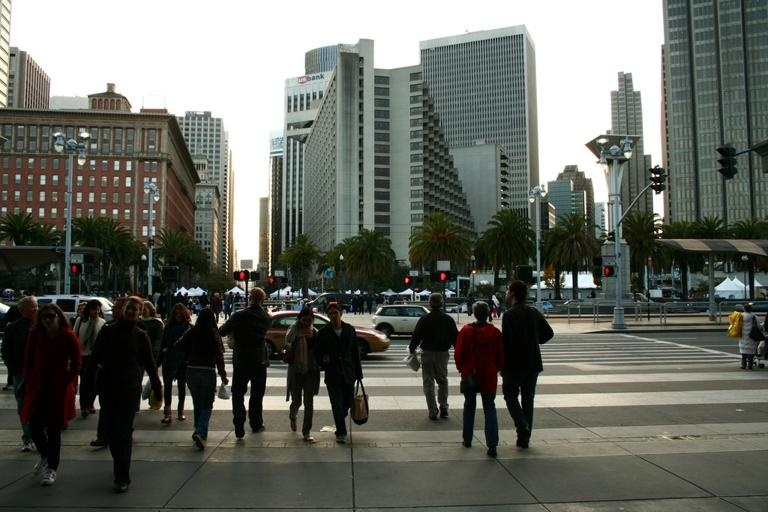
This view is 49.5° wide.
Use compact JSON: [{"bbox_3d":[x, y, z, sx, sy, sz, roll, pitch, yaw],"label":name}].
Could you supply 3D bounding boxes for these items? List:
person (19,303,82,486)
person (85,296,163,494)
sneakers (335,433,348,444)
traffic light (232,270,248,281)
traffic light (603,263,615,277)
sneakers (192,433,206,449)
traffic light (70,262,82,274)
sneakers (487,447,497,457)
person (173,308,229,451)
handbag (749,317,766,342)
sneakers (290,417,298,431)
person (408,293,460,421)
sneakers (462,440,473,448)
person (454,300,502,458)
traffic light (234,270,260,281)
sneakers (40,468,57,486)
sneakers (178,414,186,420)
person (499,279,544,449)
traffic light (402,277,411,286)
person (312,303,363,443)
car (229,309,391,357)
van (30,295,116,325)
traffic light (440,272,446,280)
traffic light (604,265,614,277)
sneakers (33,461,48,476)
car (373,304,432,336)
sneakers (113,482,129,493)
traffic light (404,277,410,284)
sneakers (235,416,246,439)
[{"bbox_3d":[-6.641,2.749,16.574,1.076,3.437,1.064,0,-9,-1],"label":"person"},{"bbox_3d":[-5.087,2.679,16.324,1.127,3.718,0.714,-1,-2,-21],"label":"person"},{"bbox_3d":[-0.926,3.962,17.970,0.182,0.201,0.450,1,2,-3],"label":"sneakers"},{"bbox_3d":[-6.915,0.950,40.354,0.811,0.788,0.452,1,-1,-31],"label":"traffic light"},{"bbox_3d":[11.271,0.727,41.351,0.815,0.832,0.455,1,-2,-16],"label":"traffic light"},{"bbox_3d":[-3.904,3.921,17.514,0.160,0.464,0.204,-5,34,5],"label":"sneakers"},{"bbox_3d":[-14.915,0.593,40.402,0.540,0.493,0.864,-1,-2,-22],"label":"traffic light"},{"bbox_3d":[2.248,4.091,17.314,0.190,0.200,0.245,-2,-2,6],"label":"sneakers"},{"bbox_3d":[-3.853,2.624,17.804,0.926,2.947,0.513,-2,-2,-14],"label":"person"},{"bbox_3d":[11.432,2.290,25.515,0.330,0.804,0.664,-7,1,13],"label":"handbag"},{"bbox_3d":[-2.001,3.756,18.459,0.114,0.349,0.230,3,40,2],"label":"sneakers"},{"bbox_3d":[1.196,2.360,19.675,1.061,2.933,1.253,-2,-2,6],"label":"person"},{"bbox_3d":[1.771,4.017,17.689,0.158,0.081,0.218,-1,-1,2],"label":"sneakers"},{"bbox_3d":[2.034,2.604,17.676,1.007,3.210,0.792,-2,-2,12],"label":"person"},{"bbox_3d":[-6.579,0.944,39.895,1.228,0.674,0.536,-1,-1,-12],"label":"traffic light"},{"bbox_3d":[-6.510,4.293,16.135,0.245,0.319,0.166,-2,-2,-16],"label":"sneakers"},{"bbox_3d":[-4.689,3.771,19.409,0.074,0.156,0.153,10,11,42],"label":"sneakers"},{"bbox_3d":[3.015,2.312,17.852,0.954,3.571,0.914,-3,-2,20],"label":"person"},{"bbox_3d":[1.207,1.426,45.420,0.510,0.504,0.554,6,5,23],"label":"traffic light"},{"bbox_3d":[-1.001,2.544,18.226,0.969,3.010,0.585,-2,-2,-5],"label":"person"},{"bbox_3d":[-1.861,2.793,27.343,3.975,1.373,1.835,-3,-2,-2],"label":"car"},{"bbox_3d":[-8.306,1.452,22.285,2.390,0.923,1.154,6,1,10],"label":"van"},{"bbox_3d":[2.642,0.911,37.385,0.314,0.324,0.076,-4,9,-13],"label":"traffic light"},{"bbox_3d":[11.124,0.685,41.230,0.545,0.500,0.431,-3,-2,15],"label":"traffic light"},{"bbox_3d":[-6.738,4.166,16.284,0.153,0.196,0.474,1,20,-6],"label":"sneakers"},{"bbox_3d":[0.813,2.759,35.805,2.477,1.202,1.503,-3,-1,3],"label":"car"},{"bbox_3d":[-5.038,4.451,15.983,0.296,0.173,0.204,-2,-2,-12],"label":"sneakers"},{"bbox_3d":[1.254,1.355,45.270,0.259,0.385,0.334,5,6,18],"label":"traffic light"},{"bbox_3d":[-3.127,3.750,18.120,0.159,0.526,0.213,-1,0,2],"label":"sneakers"}]
